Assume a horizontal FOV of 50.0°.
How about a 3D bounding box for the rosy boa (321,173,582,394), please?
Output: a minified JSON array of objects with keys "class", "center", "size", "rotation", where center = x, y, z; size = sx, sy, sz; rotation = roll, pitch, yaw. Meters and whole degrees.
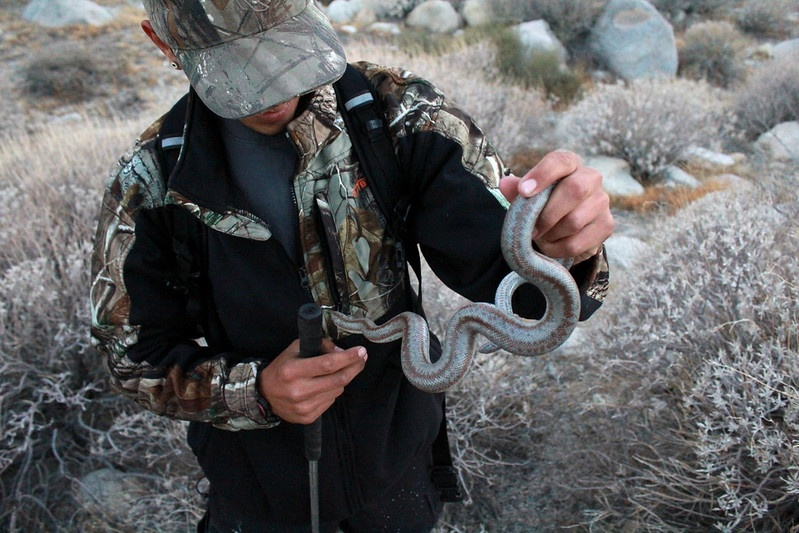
[{"class":"rosy boa","center":[0.356,0.425,6.181],"size":[1.675,0.502,1.151],"rotation":[-27,68,25]}]
